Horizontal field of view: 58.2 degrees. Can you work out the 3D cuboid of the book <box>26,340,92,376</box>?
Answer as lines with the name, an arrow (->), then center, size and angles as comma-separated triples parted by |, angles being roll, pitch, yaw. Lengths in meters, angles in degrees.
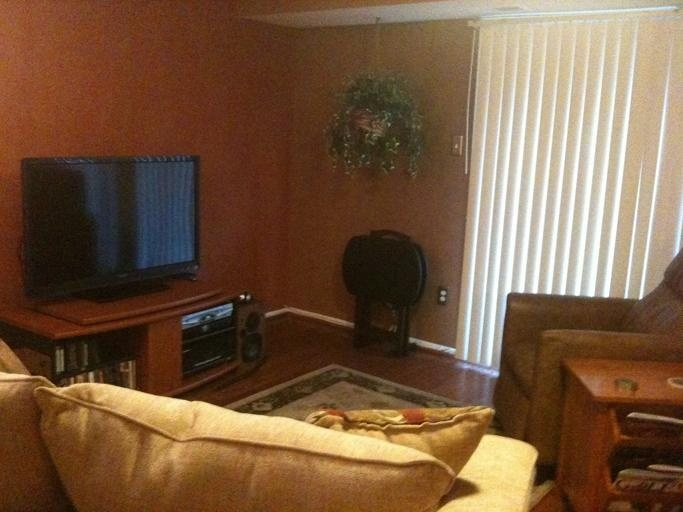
book -> -1.457, 0.477, 3.161 | 0.192, 0.164, 0.275 | -3, -5, 32

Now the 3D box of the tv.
tv -> -1.316, -0.139, 3.391 | 0.073, 0.617, 0.920 | 11, 13, 39
